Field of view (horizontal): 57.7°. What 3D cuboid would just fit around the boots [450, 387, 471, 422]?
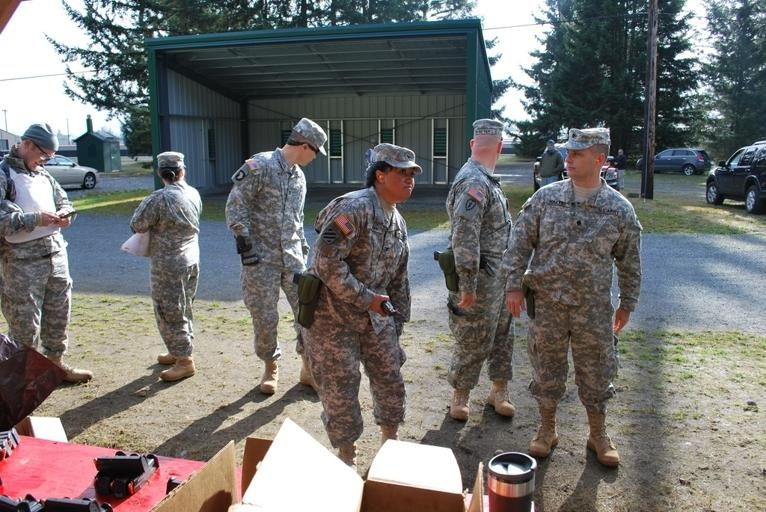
[{"bbox_3d":[0.773,1.406,6.909,0.167,0.302,0.485,14,1,3],"label":"boots"}]

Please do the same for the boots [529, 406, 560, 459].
[{"bbox_3d":[1.477,1.553,6.366,0.186,0.427,0.454,4,15,30],"label":"boots"}]

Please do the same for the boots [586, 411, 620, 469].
[{"bbox_3d":[1.989,1.583,6.233,0.179,0.409,0.443,-5,17,-11],"label":"boots"}]

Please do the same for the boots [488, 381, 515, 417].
[{"bbox_3d":[1.200,1.376,6.977,0.175,0.270,0.453,7,7,-18],"label":"boots"}]

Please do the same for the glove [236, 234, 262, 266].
[{"bbox_3d":[-1.387,-0.065,6.967,0.117,0.298,0.211,-23,11,-20],"label":"glove"}]

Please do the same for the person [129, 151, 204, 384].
[{"bbox_3d":[-2.333,0.111,7.503,0.566,2.325,0.669,0,15,1],"label":"person"}]

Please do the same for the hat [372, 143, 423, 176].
[{"bbox_3d":[0.112,-0.814,5.709,0.360,0.120,0.244,18,10,16],"label":"hat"}]

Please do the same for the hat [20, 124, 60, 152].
[{"bbox_3d":[-3.486,-1.176,6.993,0.324,0.286,0.281,-8,17,-26],"label":"hat"}]

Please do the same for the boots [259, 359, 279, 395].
[{"bbox_3d":[-1.223,1.225,7.359,0.169,0.305,0.473,3,8,-8],"label":"boots"}]

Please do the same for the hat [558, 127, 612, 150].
[{"bbox_3d":[1.818,-1.033,6.133,0.324,0.129,0.226,-8,13,0],"label":"hat"}]

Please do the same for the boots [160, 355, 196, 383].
[{"bbox_3d":[-2.235,1.208,7.539,0.397,0.379,0.202,4,6,-36],"label":"boots"}]

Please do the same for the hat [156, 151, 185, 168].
[{"bbox_3d":[-2.378,-1.027,7.516,0.301,0.158,0.293,6,12,25],"label":"hat"}]

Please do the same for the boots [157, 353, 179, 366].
[{"bbox_3d":[-2.477,1.144,7.889,0.284,0.125,0.143,14,-2,-5],"label":"boots"}]

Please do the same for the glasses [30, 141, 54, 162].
[{"bbox_3d":[-3.492,-1.039,7.053,0.053,0.177,0.172,-32,-7,13],"label":"glasses"}]
